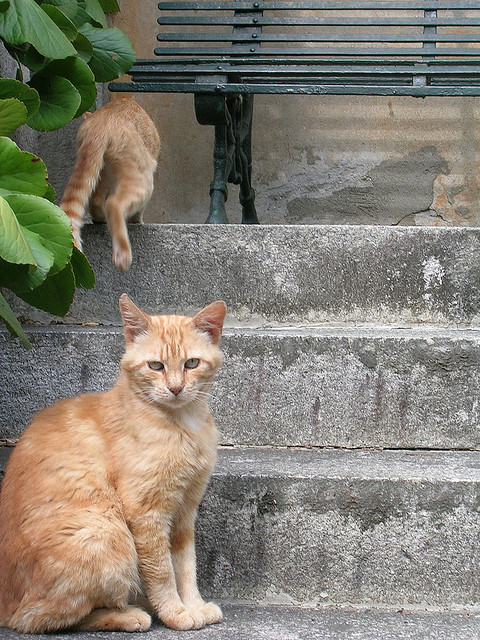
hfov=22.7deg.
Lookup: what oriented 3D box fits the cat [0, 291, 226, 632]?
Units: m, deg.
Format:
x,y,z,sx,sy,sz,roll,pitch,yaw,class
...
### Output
x,y,z,sx,sy,sz,roll,pitch,yaw,class
-0.340,0.415,3.133,0.571,0.495,0.781,0,57,2,cat
